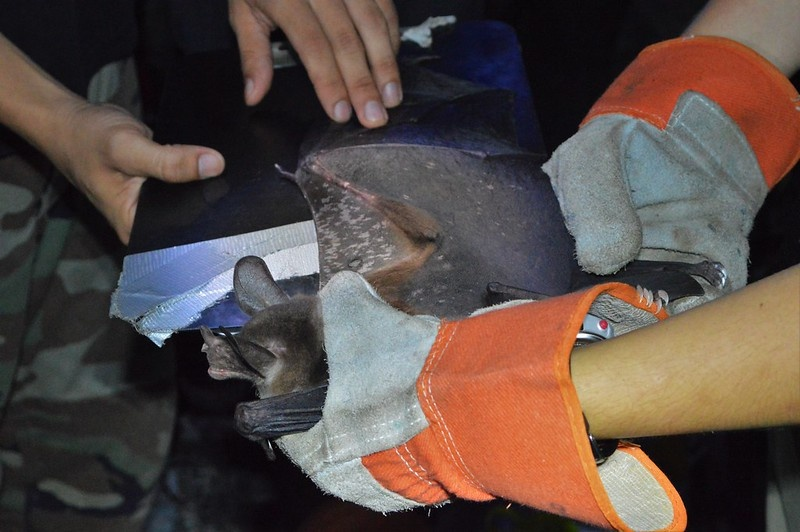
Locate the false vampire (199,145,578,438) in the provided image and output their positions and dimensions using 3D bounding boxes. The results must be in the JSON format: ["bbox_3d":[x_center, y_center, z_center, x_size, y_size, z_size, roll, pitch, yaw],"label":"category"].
[{"bbox_3d":[0.063,0.081,1.882,0.607,0.271,0.700,-4,57,21],"label":"false vampire"}]
